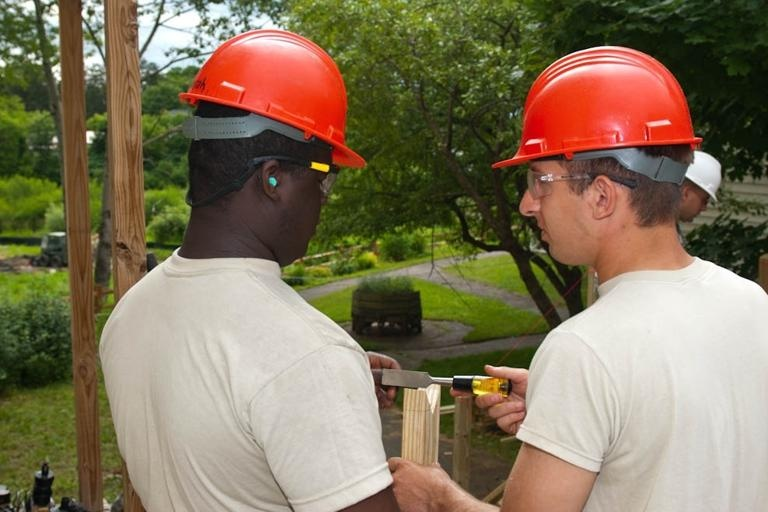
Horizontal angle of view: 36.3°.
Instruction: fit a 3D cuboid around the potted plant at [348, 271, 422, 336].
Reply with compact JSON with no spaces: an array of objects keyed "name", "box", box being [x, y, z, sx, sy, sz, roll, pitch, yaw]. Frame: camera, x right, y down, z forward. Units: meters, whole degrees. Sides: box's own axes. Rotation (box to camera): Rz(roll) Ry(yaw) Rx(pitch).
[{"name":"potted plant","box":[0.038,0.543,13.375,0.639,0.528,0.690,0,-3,-3]}]
